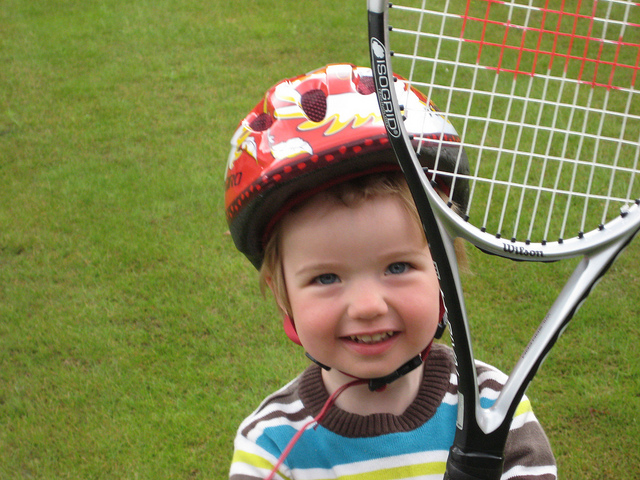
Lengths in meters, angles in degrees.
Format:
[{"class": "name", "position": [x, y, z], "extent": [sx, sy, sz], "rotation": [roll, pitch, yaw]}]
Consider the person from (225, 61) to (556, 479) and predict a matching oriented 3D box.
[{"class": "person", "position": [0.190, 0.247, 3.308], "extent": [1.284, 1.664, 1.075], "rotation": [-5, 36, 16]}]

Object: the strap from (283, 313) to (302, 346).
[{"class": "strap", "position": [-0.139, 0.421, 3.473], "extent": [0.076, 0.070, 0.122], "rotation": [-10, 35, 4]}]

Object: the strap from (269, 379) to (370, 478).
[{"class": "strap", "position": [-0.009, 0.841, 3.365], "extent": [0.587, 0.178, 0.128], "rotation": [-33, 38, -13]}]
